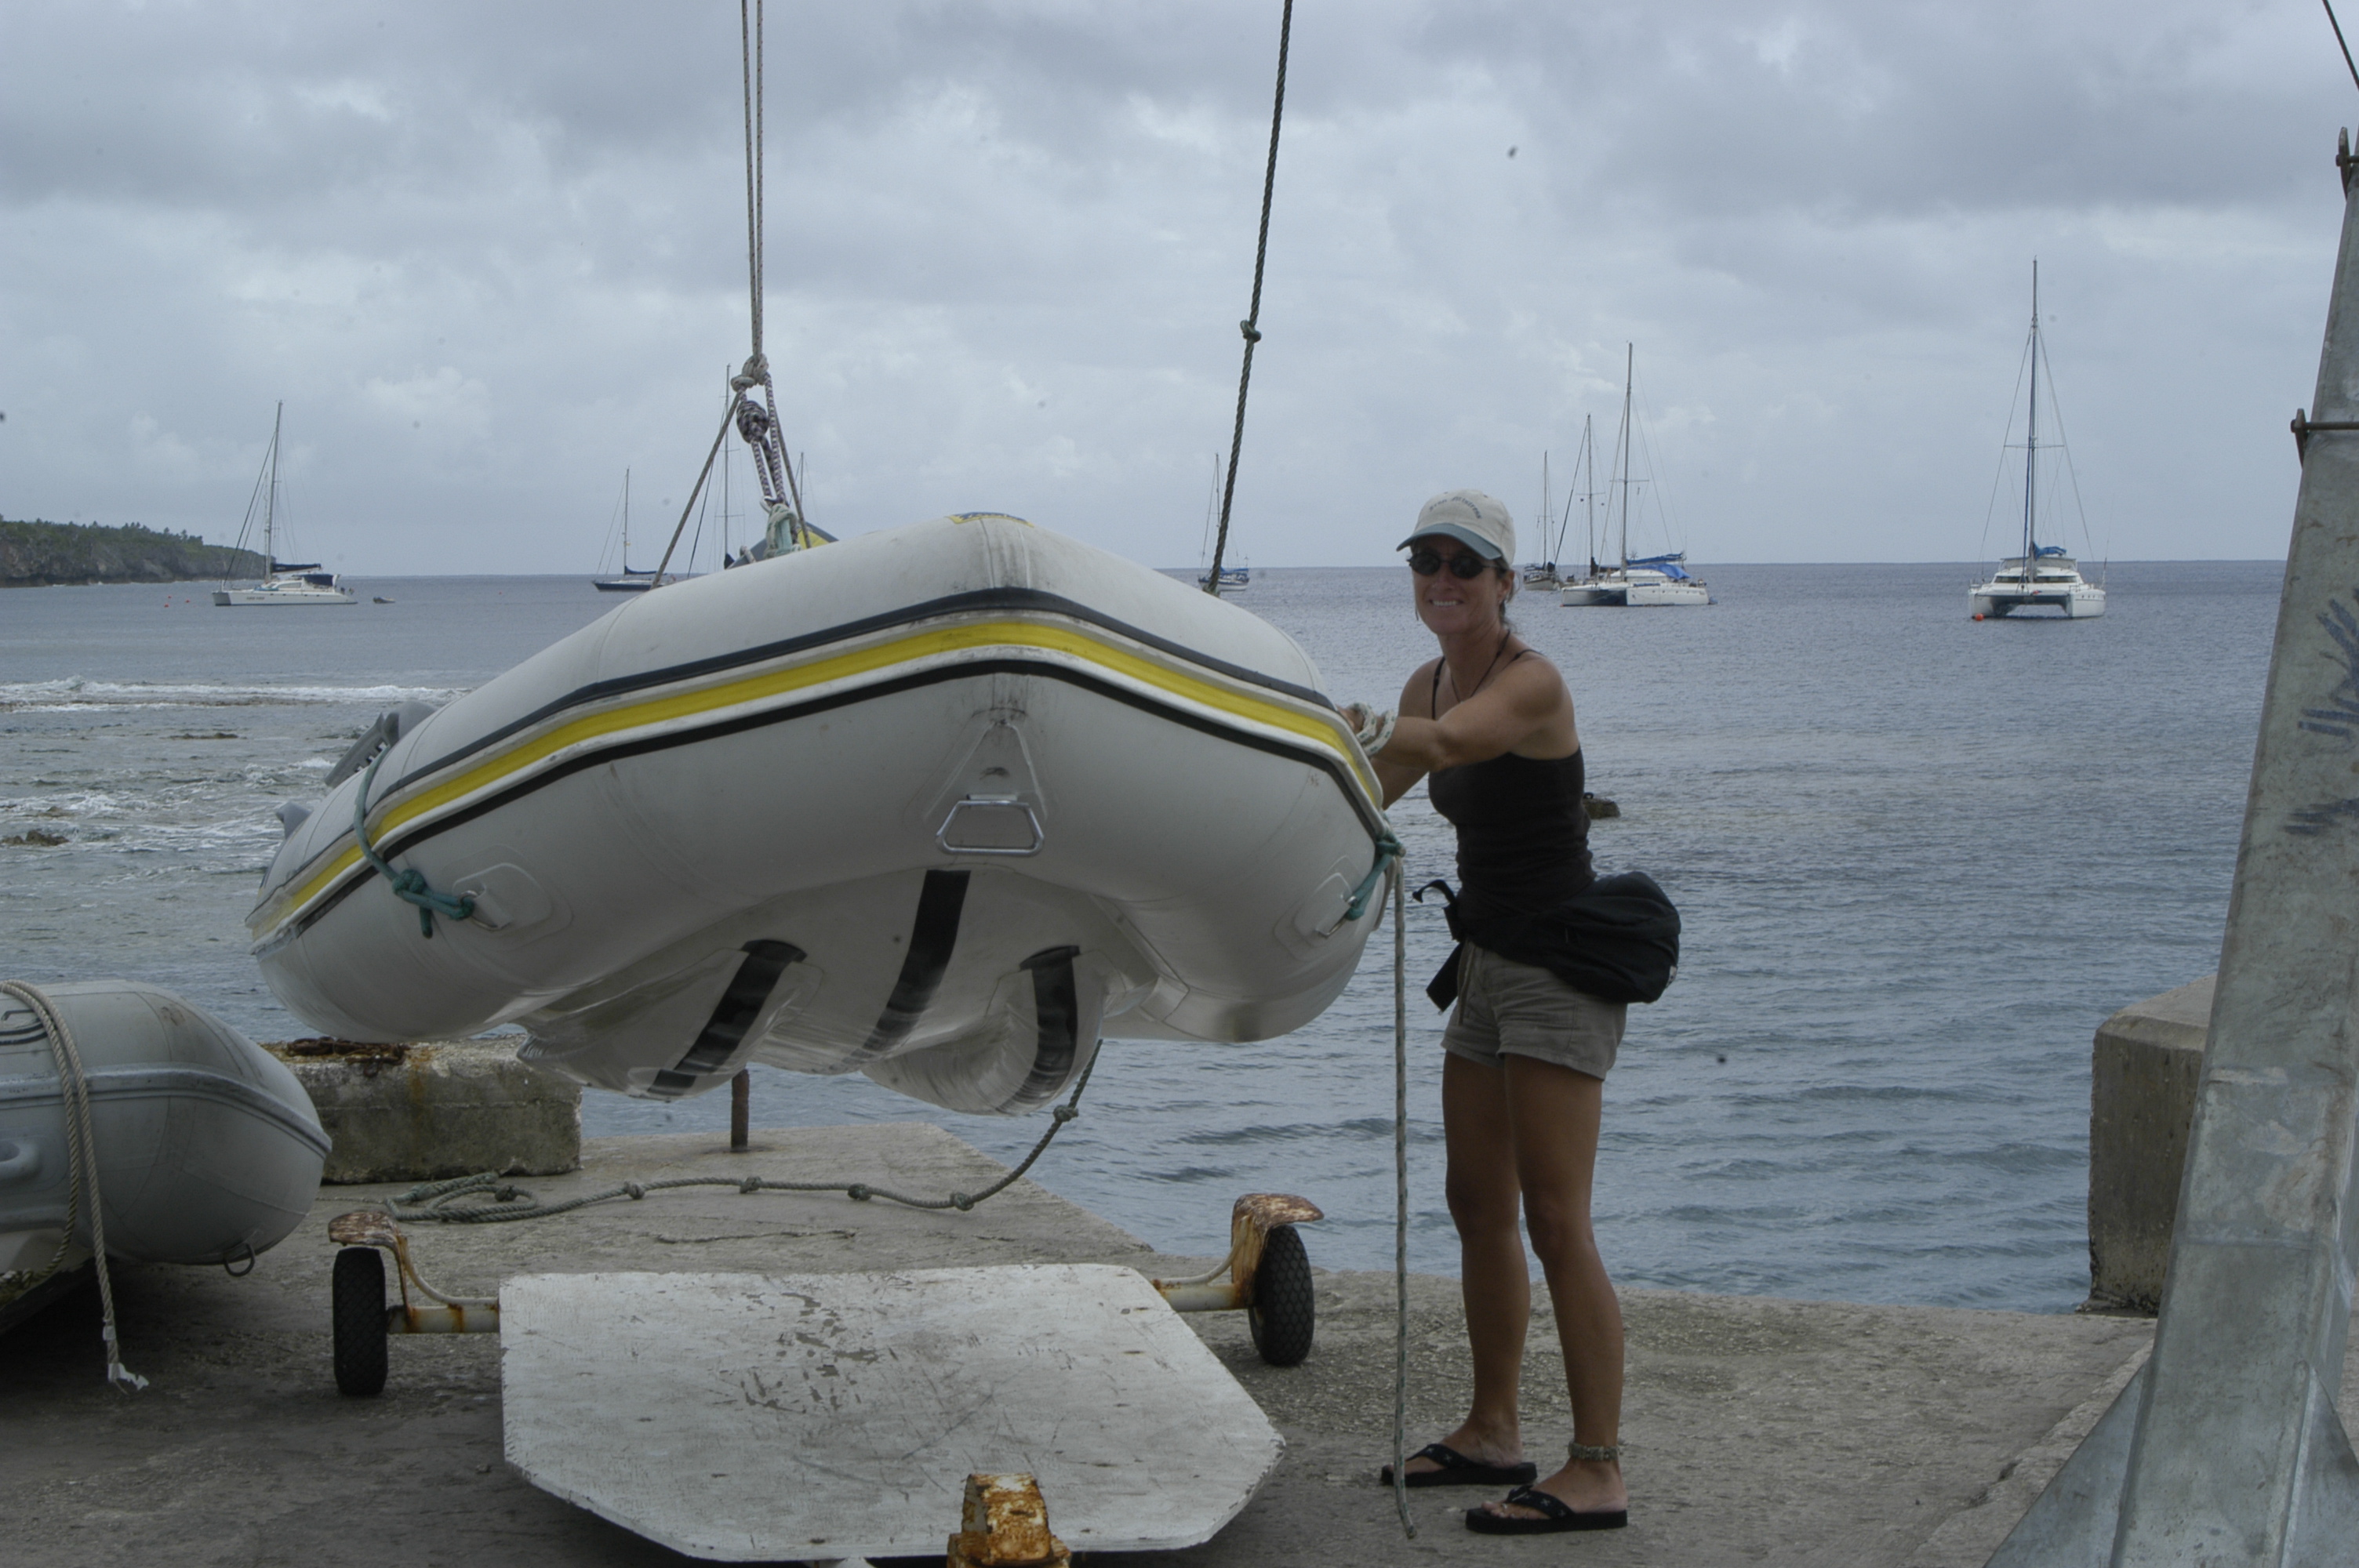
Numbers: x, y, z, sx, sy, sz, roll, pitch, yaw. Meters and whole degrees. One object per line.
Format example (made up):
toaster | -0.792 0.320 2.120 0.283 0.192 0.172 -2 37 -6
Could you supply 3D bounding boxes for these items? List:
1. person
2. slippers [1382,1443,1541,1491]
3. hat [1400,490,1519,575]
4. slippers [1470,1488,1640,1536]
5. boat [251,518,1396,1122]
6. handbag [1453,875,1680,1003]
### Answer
person | 0.964 0.637 7.814 0.852 2.751 0.757 2 0 10
slippers | 0.813 1.974 7.991 0.426 0.113 0.151 2 -7 -1
hat | 0.792 -0.707 7.644 0.276 0.199 0.419 1 0 3
slippers | 1.050 2.001 7.708 0.411 0.110 0.150 3 -9 -5
boat | -0.890 0.092 7.658 2.962 1.362 1.259 1 0 3
handbag | 1.106 0.433 7.848 0.555 0.231 0.369 3 -4 -4
